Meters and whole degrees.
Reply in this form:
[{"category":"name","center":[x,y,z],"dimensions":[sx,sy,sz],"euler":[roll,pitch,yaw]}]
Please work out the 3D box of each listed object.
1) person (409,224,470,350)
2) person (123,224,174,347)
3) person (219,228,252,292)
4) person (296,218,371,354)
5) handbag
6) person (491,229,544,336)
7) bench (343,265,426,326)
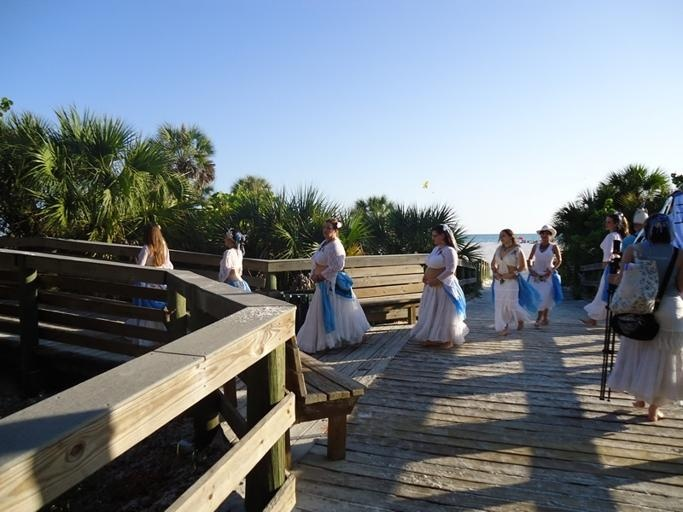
[{"category":"person","center":[1.454,0.450,6.648],"dimensions":[0.725,1.808,0.430],"euler":[2,6,23]},{"category":"person","center":[-2.406,0.346,5.661],"dimensions":[0.544,1.484,2.129],"euler":[-2,6,-21]},{"category":"person","center":[-1.452,0.050,6.071],"dimensions":[0.378,0.791,0.723],"euler":[-2,6,-15]},{"category":"person","center":[-0.133,0.571,6.472],"dimensions":[1.015,1.581,0.545],"euler":[-2,6,-13]},{"category":"handbag","center":[2.613,0.386,4.003],"dimensions":[0.346,0.696,0.181],"euler":[4,7,39]},{"category":"person","center":[2.887,0.415,7.492],"dimensions":[0.696,1.715,0.497],"euler":[1,6,18]},{"category":"bench","center":[0.987,0.648,8.052],"dimensions":[2.295,1.035,0.727],"euler":[-4,15,-42]}]
